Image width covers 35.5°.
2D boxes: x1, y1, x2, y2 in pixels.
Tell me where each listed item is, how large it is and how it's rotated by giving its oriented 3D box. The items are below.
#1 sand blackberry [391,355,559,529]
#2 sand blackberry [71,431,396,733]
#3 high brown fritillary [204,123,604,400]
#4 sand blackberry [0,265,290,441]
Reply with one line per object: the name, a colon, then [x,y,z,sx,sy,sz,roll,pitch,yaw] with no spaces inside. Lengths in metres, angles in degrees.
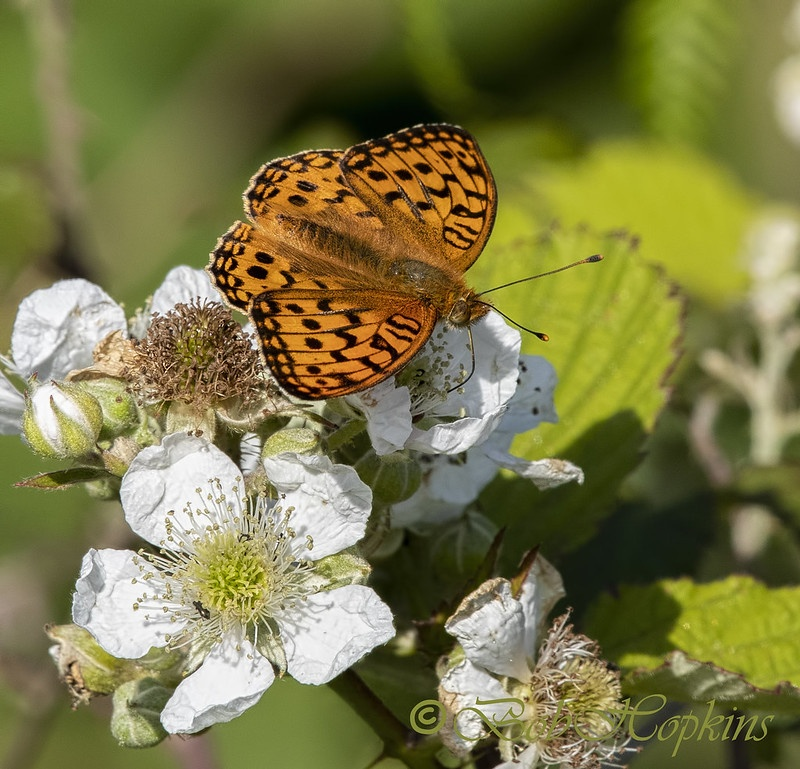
sand blackberry: [0.135,0.100,1.989,0.273,0.264,0.118,-43,78,6]
sand blackberry: [-0.224,0.265,1.818,0.427,0.416,0.133,18,96,10]
high brown fritillary: [0.003,-0.163,1.860,0.541,0.185,0.460,16,112,-13]
sand blackberry: [-0.366,-0.038,1.835,0.311,0.126,0.288,-4,77,-5]
